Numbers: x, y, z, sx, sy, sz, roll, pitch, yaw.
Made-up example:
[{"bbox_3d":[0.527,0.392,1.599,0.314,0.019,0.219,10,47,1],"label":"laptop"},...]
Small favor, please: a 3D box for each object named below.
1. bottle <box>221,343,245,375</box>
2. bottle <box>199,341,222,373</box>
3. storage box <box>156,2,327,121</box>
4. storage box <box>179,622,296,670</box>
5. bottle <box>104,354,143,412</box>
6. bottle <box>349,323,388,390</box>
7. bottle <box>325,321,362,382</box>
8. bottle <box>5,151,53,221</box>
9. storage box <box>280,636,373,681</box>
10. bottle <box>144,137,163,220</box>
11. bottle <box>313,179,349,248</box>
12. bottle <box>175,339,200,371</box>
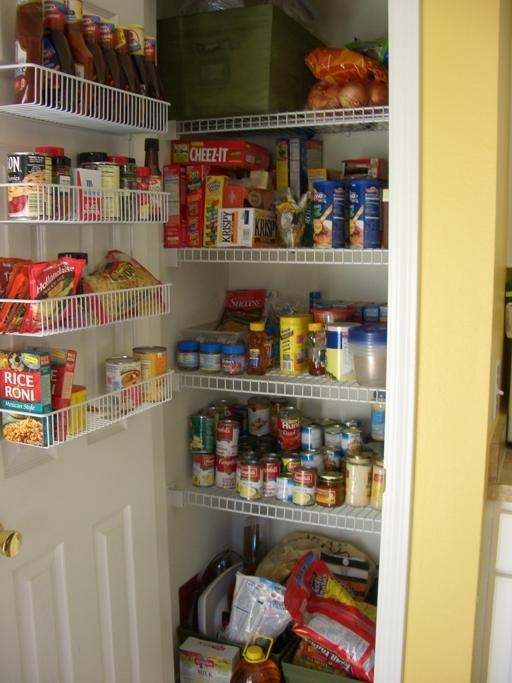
[{"bbox_3d":[-0.058,0.051,1.572,0.074,0.083,0.075,-1,1,1],"label":"bottle"},{"bbox_3d":[-0.127,0.047,1.600,0.075,0.082,0.075,1,2,4],"label":"bottle"},{"bbox_3d":[-0.029,-0.696,1.543,0.355,0.221,0.369,6,12,33],"label":"storage box"},{"bbox_3d":[-0.043,0.859,1.605,0.212,0.063,0.204,0,-3,19],"label":"storage box"},{"bbox_3d":[-0.278,0.092,1.217,0.069,0.107,0.070,-5,7,1],"label":"bottle"},{"bbox_3d":[0.263,0.035,1.329,0.121,0.122,0.130,-1,8,4],"label":"bottle"},{"bbox_3d":[0.221,0.026,1.480,0.110,0.135,0.112,1,9,15],"label":"bottle"},{"bbox_3d":[-0.351,-0.238,0.884,0.071,0.104,0.089,-4,8,-19],"label":"bottle"},{"bbox_3d":[0.167,0.856,1.528,0.126,0.033,0.113,17,12,28],"label":"storage box"},{"bbox_3d":[-0.228,-0.367,1.293,0.043,0.168,0.043,1,16,0],"label":"bottle"},{"bbox_3d":[0.203,-0.328,1.469,0.096,0.162,0.098,-2,20,1],"label":"bottle"},{"bbox_3d":[-0.191,0.040,1.616,0.077,0.087,0.078,0,2,7],"label":"bottle"}]
